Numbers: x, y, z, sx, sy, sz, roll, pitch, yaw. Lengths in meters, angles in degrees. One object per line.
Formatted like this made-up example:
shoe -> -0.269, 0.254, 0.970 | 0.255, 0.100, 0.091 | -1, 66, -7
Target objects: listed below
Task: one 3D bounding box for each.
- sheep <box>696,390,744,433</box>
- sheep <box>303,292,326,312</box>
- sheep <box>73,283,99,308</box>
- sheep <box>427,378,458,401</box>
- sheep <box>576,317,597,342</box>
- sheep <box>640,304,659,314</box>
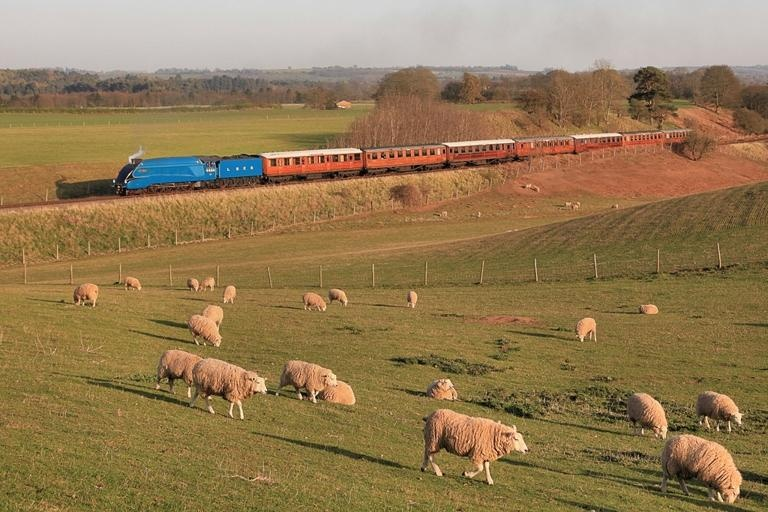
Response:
sheep -> 17.085, 7.940, 44.945 | 1.252, 1.816, 2.908 | 2, 4, -22
sheep -> -4.681, 3.063, 59.404 | 2.088, 1.060, 1.196 | 10, 15, 43
sheep -> -18.792, 2.381, 55.270 | 1.413, 1.230, 1.780 | -5, 12, -23
sheep -> 2.967, 7.049, 46.878 | 1.113, 0.687, 1.388 | 2, 2, -16
sheep -> 12.640, 4.538, 54.786 | 0.958, 1.294, 1.571 | 9, 14, 39
sheep -> 17.717, 3.546, 59.270 | 0.632, 0.513, 1.022 | 0, -1, -25
